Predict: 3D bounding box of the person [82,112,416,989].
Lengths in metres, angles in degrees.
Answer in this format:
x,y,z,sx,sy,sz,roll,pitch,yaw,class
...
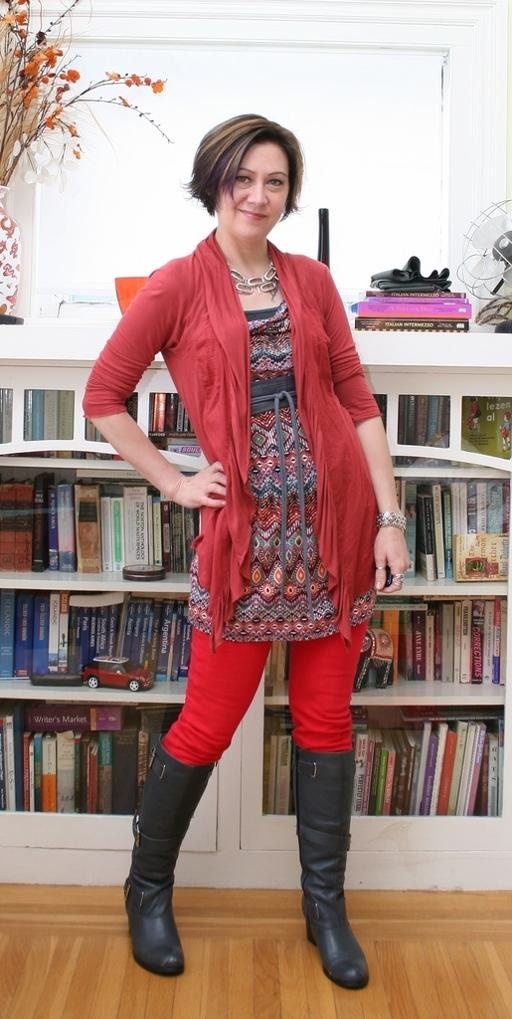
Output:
x,y,z,sx,sy,sz,roll,pitch,yaw,class
-0.016,0.108,1.240,0.511,1.365,0.282,-1,4,12,person

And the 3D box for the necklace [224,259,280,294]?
x,y,z,sx,sy,sz,roll,pitch,yaw,class
0.000,-0.350,1.162,0.081,0.054,0.037,-5,5,-33,necklace
